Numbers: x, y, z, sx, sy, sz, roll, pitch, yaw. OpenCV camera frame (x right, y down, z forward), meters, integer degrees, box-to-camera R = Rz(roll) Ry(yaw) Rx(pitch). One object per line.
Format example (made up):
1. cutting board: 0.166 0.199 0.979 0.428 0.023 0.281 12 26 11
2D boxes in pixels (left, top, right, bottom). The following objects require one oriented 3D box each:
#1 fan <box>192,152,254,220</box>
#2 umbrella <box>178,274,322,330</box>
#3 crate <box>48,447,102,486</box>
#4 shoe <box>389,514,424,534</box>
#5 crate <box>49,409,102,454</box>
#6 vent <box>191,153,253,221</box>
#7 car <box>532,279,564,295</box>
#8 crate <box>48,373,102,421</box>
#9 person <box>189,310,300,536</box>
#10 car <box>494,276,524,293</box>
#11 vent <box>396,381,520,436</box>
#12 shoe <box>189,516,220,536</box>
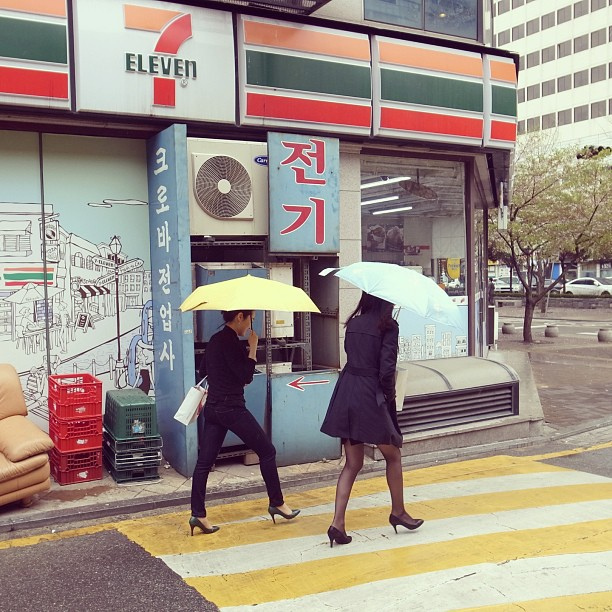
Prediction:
1. fan: -0.936 -1.358 7.267 0.691 0.802 0.097 0 -19 -18
2. umbrella: -0.433 -0.076 4.995 1.074 0.297 0.713 -4 5 -15
3. crate: -2.301 1.637 6.382 0.403 0.295 0.415 1 -4 -33
4. shoe: 0.775 1.705 4.924 0.284 0.190 0.106 -6 -5 -6
5. crate: -2.375 1.303 6.524 0.568 0.335 0.624 -2 -1 12
6. vent: -0.939 -1.390 7.229 0.614 0.797 0.162 -7 6 -33
7. car: 12.439 -0.912 32.351 1.650 1.014 1.123 4 3 5
8. crate: -2.374 0.923 6.476 0.453 0.340 0.466 2 0 -32
9. person: -0.563 0.946 5.140 0.780 1.809 0.307 -4 4 -33
10. car: 14.171 -1.434 44.239 1.804 1.192 1.288 -2 7 -2
11. vent: 1.903 1.252 7.713 1.930 0.553 0.100 -5 4 -29
12. shoe: -0.848 1.811 5.197 0.298 0.202 0.107 1 -5 -21
